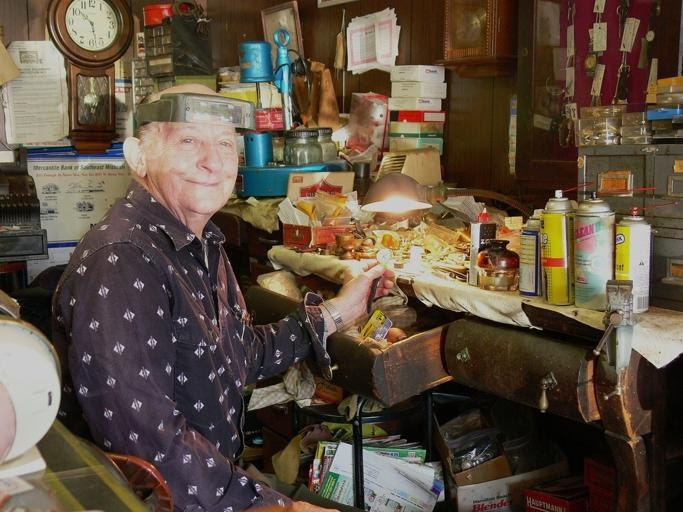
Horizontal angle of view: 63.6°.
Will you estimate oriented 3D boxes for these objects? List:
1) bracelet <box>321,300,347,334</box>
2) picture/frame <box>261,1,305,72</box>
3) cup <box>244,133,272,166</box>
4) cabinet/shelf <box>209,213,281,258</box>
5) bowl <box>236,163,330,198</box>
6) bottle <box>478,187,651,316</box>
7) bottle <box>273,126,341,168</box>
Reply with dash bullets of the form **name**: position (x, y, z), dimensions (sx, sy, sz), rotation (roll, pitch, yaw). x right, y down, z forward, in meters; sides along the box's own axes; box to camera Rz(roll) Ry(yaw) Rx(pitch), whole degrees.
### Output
- **bracelet**: position (-0.029, 0.216, 1.992), dimensions (0.090, 0.097, 0.089), rotation (-24, 2, -13)
- **picture/frame**: position (-0.507, -1.869, 4.593), dimensions (0.163, 0.444, 0.566), rotation (-8, 11, -33)
- **cup**: position (-0.438, -0.559, 2.995), dimensions (0.166, 0.203, 0.174), rotation (0, 1, 0)
- **cabinet/shelf**: position (-0.507, -0.108, 2.941), dimensions (0.246, 0.216, 0.331), rotation (-2, 8, -37)
- **bowl**: position (-0.378, -0.435, 3.045), dimensions (0.455, 0.115, 0.470), rotation (-7, 9, 1)
- **bottle**: position (0.686, -0.009, 1.566), dimensions (0.355, 0.346, 0.261), rotation (2, 10, 26)
- **bottle**: position (-0.199, -0.576, 2.949), dimensions (0.251, 0.236, 0.264), rotation (0, 8, 9)
